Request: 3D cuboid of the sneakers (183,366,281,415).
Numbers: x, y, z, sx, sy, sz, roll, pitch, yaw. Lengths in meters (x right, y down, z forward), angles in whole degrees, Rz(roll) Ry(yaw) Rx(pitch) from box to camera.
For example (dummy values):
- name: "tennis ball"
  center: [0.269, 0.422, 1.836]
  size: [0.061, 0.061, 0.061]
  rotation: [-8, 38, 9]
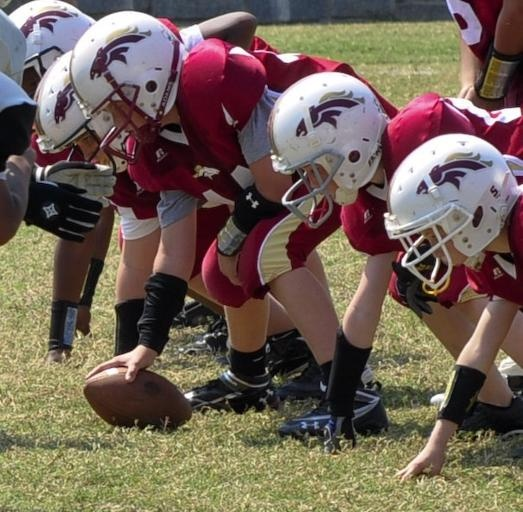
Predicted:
- name: "sneakers"
  center: [-0.103, 0.495, 2.452]
  size: [0.400, 0.140, 0.131]
  rotation: [2, -1, 0]

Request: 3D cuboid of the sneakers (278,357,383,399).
- name: "sneakers"
  center: [0.226, 0.486, 2.538]
  size: [0.466, 0.162, 0.139]
  rotation: [8, -17, -19]

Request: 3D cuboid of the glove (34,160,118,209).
- name: "glove"
  center: [-0.637, -0.265, 2.194]
  size: [0.232, 0.097, 0.158]
  rotation: [17, -16, 3]

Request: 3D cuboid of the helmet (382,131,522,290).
- name: "helmet"
  center: [0.503, -0.123, 1.653]
  size: [0.356, 0.362, 0.138]
  rotation: [0, 4, -10]

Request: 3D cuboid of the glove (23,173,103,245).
- name: "glove"
  center: [-0.610, -0.134, 2.013]
  size: [0.093, 0.181, 0.252]
  rotation: [4, 6, 38]

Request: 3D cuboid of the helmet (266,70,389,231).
- name: "helmet"
  center: [0.200, -0.303, 1.872]
  size: [0.359, 0.443, 0.163]
  rotation: [0, 4, -6]

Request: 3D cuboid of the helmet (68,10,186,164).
- name: "helmet"
  center: [-0.414, -0.546, 2.050]
  size: [0.362, 0.450, 0.169]
  rotation: [-1, 4, -15]

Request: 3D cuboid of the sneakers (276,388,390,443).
- name: "sneakers"
  center: [0.222, 0.491, 2.119]
  size: [0.380, 0.142, 0.111]
  rotation: [-5, -4, -1]

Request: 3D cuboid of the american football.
- name: "american football"
  center: [-0.415, 0.460, 2.157]
  size: [0.384, 0.198, 0.216]
  rotation: [4, 4, 15]

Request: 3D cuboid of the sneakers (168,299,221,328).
- name: "sneakers"
  center: [-0.346, 0.294, 3.304]
  size: [0.227, 0.075, 0.171]
  rotation: [-27, -22, 29]
